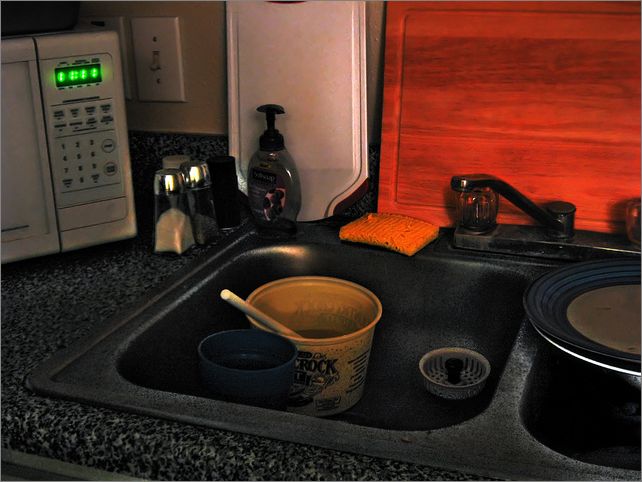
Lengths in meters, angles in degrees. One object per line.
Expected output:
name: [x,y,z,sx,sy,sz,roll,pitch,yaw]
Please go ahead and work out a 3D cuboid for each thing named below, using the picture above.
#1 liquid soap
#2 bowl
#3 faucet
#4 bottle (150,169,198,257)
liquid soap: [-0.099,-0.153,1.076,0.108,0.252,0.082,-5,22,-8]
bowl: [-0.100,0.174,0.721,0.117,0.081,0.104,16,29,29]
faucet: [0.361,-0.059,0.966,0.279,0.100,0.069,1,6,-18]
bottle: [-0.285,-0.052,1.007,0.082,0.149,0.078,0,13,0]
